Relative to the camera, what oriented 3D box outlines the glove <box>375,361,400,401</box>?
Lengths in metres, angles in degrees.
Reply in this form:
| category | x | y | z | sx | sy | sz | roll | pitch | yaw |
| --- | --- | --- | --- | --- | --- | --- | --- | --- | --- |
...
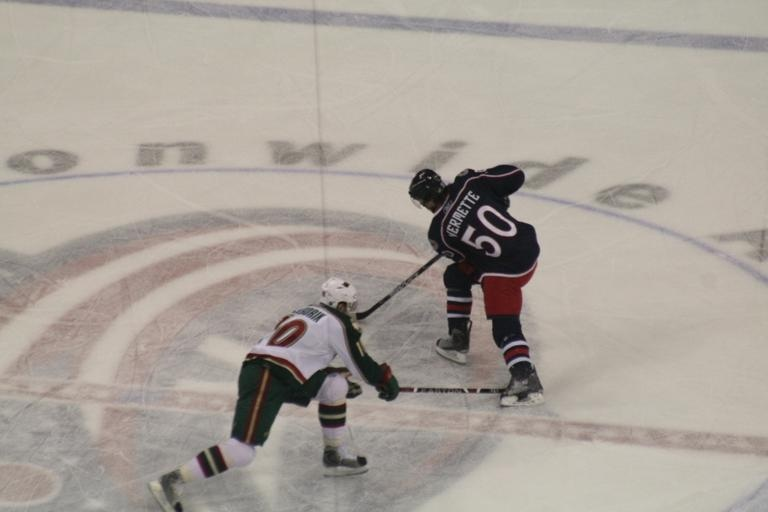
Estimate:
| category | x | y | z | sx | sy | sz | roll | pitch | yaw |
| --- | --- | --- | --- | --- | --- | --- | --- | --- | --- |
| glove | 0.047 | 1.001 | 7.629 | 0.144 | 0.282 | 0.211 | -9 | 38 | -17 |

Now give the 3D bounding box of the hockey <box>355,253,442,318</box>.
| category | x | y | z | sx | sy | sz | roll | pitch | yaw |
| --- | --- | --- | --- | --- | --- | --- | --- | --- | --- |
| hockey | 0.133 | 0.303 | 8.774 | 0.993 | 0.138 | 0.099 | -29 | 85 | -2 |

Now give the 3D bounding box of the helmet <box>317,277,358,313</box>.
| category | x | y | z | sx | sy | sz | roll | pitch | yaw |
| --- | --- | --- | --- | --- | --- | --- | --- | --- | --- |
| helmet | -0.409 | 0.312 | 7.665 | 0.343 | 0.242 | 0.230 | -8 | 13 | -12 |

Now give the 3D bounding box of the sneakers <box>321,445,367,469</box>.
| category | x | y | z | sx | sy | sz | roll | pitch | yaw |
| --- | --- | --- | --- | --- | --- | --- | --- | --- | --- |
| sneakers | -0.312 | 1.580 | 7.528 | 0.413 | 0.150 | 0.133 | 1 | 17 | -2 |
